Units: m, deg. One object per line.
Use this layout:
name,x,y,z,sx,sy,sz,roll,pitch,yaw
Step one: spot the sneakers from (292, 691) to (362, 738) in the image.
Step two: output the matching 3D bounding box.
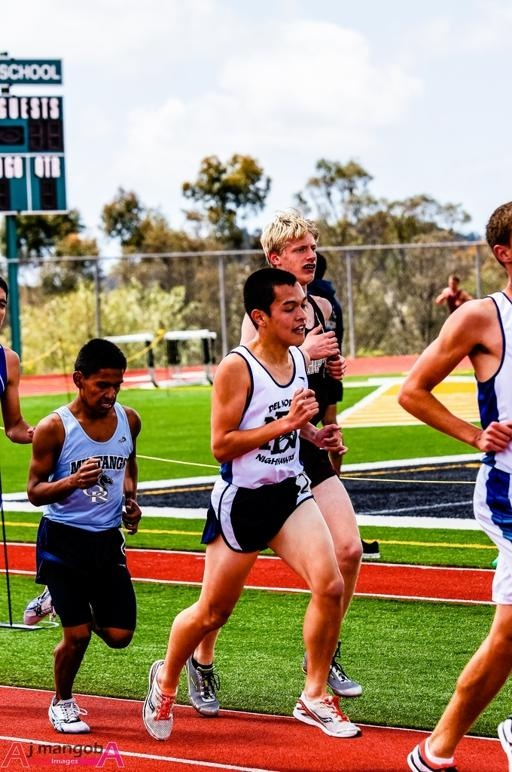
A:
sneakers,0.250,1.143,3.815,0.281,0.118,0.102,17,9,25

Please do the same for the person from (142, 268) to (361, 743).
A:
person,-0.042,0.414,3.822,0.735,1.669,0.477,-3,3,-4

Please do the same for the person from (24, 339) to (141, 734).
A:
person,-0.601,0.527,4.026,0.495,1.399,0.442,-4,4,-27

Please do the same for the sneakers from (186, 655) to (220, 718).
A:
sneakers,-0.202,1.166,4.185,0.092,0.092,0.234,20,23,-33

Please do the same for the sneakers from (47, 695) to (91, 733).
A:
sneakers,-0.677,1.188,3.884,0.132,0.116,0.180,-3,3,-15

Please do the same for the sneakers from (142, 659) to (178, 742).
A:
sneakers,-0.333,1.109,3.816,0.108,0.270,0.116,5,-15,-33
